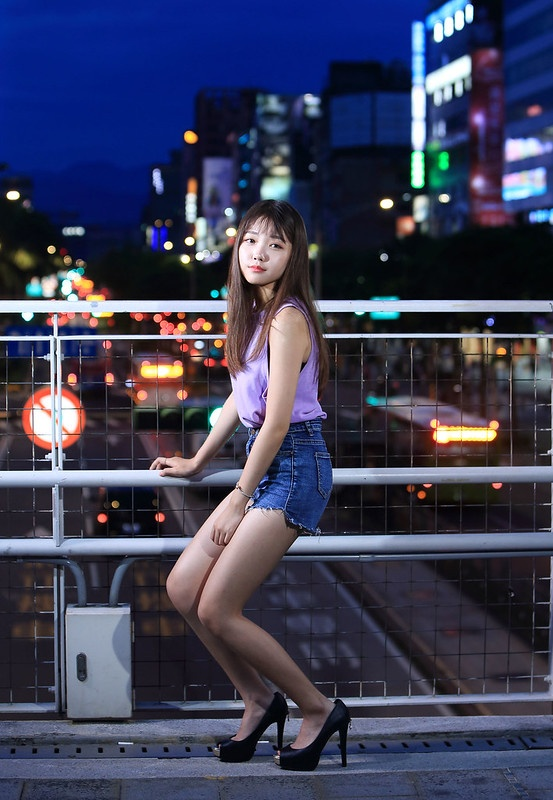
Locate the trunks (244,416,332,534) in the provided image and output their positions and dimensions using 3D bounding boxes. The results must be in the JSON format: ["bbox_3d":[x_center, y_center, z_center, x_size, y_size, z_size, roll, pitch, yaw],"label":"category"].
[{"bbox_3d":[0.065,0.295,4.299,0.320,0.451,0.215,3,-3,-2],"label":"trunks"}]

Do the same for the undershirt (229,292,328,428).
[{"bbox_3d":[0.056,-0.165,4.539,0.480,0.690,0.501,-3,4,-2],"label":"undershirt"}]
